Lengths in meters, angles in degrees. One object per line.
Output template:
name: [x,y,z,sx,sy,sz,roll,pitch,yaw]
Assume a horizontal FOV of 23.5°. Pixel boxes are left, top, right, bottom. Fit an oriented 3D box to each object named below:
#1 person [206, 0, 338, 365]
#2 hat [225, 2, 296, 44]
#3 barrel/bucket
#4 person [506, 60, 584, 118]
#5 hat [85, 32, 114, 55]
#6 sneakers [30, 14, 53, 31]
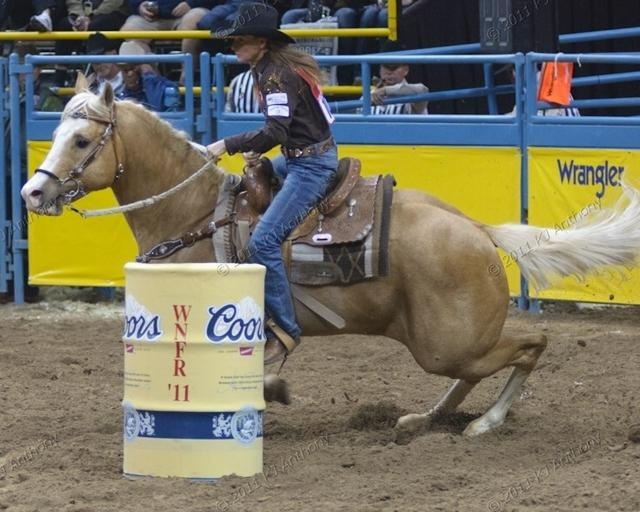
person: [-0.310,-0.625,12.878,0.947,2.900,0.913,-7,16,-18]
hat: [-0.496,-1.925,12.771,0.503,0.190,0.389,6,6,-11]
barrel/bucket: [-0.995,0.908,12.147,1.158,1.665,0.524,-2,15,-3]
person: [2.407,-1.787,16.498,0.857,0.779,0.224,4,-1,3]
hat: [-2.435,-2.352,17.117,0.194,0.185,0.265,9,19,21]
sneakers: [-3.118,-2.593,17.305,0.131,0.164,0.346,-17,-5,4]
